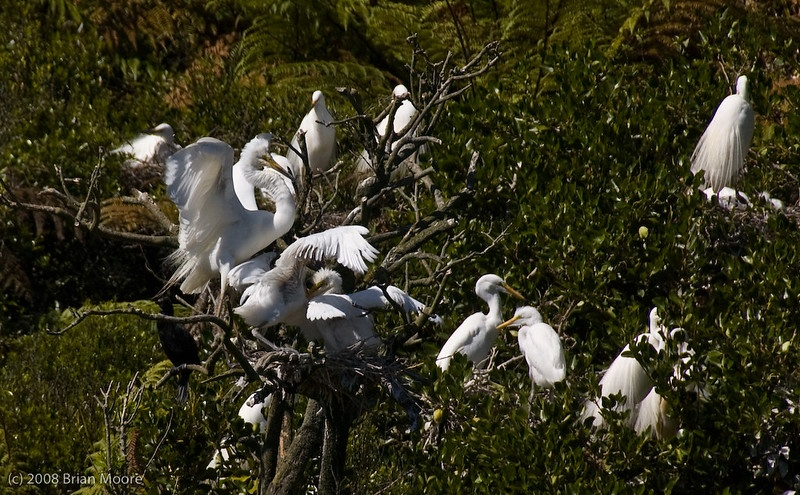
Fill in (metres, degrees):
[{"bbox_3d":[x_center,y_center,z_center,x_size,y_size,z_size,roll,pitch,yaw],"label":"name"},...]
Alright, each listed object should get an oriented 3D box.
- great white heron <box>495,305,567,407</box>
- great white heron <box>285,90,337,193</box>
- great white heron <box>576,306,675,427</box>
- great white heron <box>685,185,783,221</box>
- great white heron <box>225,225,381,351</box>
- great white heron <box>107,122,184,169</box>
[{"bbox_3d":[1.454,1.081,12.660,0.456,0.718,1.064,5,12,-7],"label":"great white heron"},{"bbox_3d":[-1.012,-1.420,17.305,0.566,1.075,1.656,-4,-17,9],"label":"great white heron"},{"bbox_3d":[2.292,1.184,12.466,0.668,1.182,1.072,16,15,38],"label":"great white heron"},{"bbox_3d":[3.838,-0.540,13.928,0.908,0.266,1.355,11,13,15],"label":"great white heron"},{"bbox_3d":[-0.955,0.289,12.524,1.121,1.085,1.581,11,-13,-43],"label":"great white heron"},{"bbox_3d":[-3.496,-1.355,17.118,0.996,0.465,0.730,-8,3,9],"label":"great white heron"}]
